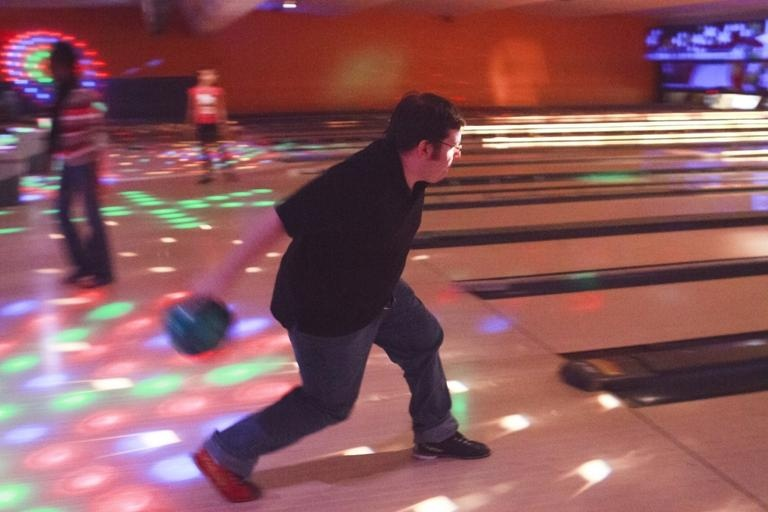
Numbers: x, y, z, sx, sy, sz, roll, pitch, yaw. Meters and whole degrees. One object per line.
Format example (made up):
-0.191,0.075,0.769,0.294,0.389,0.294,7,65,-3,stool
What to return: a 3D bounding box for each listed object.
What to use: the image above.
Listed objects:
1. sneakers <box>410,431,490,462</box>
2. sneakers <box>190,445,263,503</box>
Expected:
0.269,0.766,2.197,0.328,0.106,0.106,-1,-3,-1,sneakers
-0.576,0.786,2.014,0.341,0.116,0.117,24,31,14,sneakers
